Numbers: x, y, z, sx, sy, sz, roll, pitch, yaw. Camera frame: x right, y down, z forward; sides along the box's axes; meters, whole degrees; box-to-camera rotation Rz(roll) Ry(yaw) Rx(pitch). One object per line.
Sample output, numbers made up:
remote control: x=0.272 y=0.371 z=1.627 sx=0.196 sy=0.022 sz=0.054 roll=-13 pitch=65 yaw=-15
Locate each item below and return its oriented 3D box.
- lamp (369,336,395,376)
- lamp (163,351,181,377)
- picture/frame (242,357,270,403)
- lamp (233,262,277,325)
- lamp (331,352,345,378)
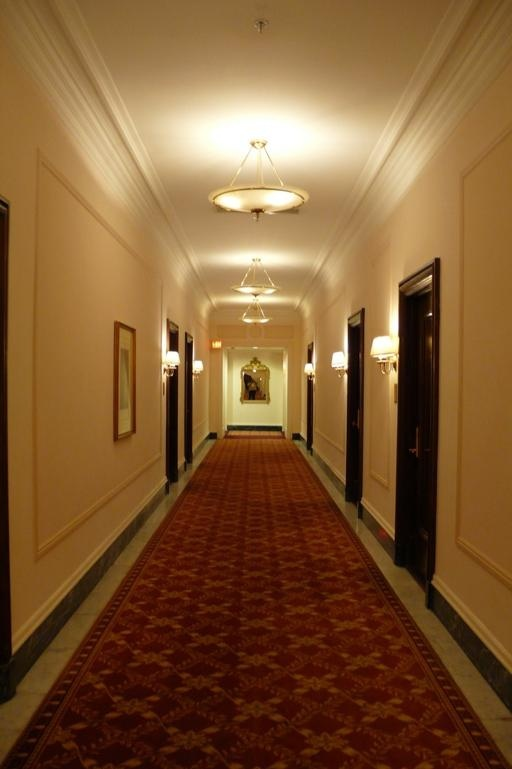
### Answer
lamp: x=1.381 y=-0.309 z=4.854 sx=0.250 sy=0.501 sz=0.293 roll=-5 pitch=-23 yaw=9
lamp: x=-1.412 y=-0.335 z=7.439 sx=0.238 sy=0.391 sz=0.404 roll=1 pitch=-8 yaw=-7
picture/frame: x=-0.019 y=-0.144 z=19.306 sx=1.251 sy=1.802 sz=0.442 roll=1 pitch=-6 yaw=-5
lamp: x=0.003 y=-2.215 z=10.697 sx=0.752 sy=1.566 sz=0.919 roll=0 pitch=-7 yaw=2
lamp: x=1.431 y=-0.346 z=7.692 sx=0.178 sy=0.426 sz=0.474 roll=0 pitch=-8 yaw=5
